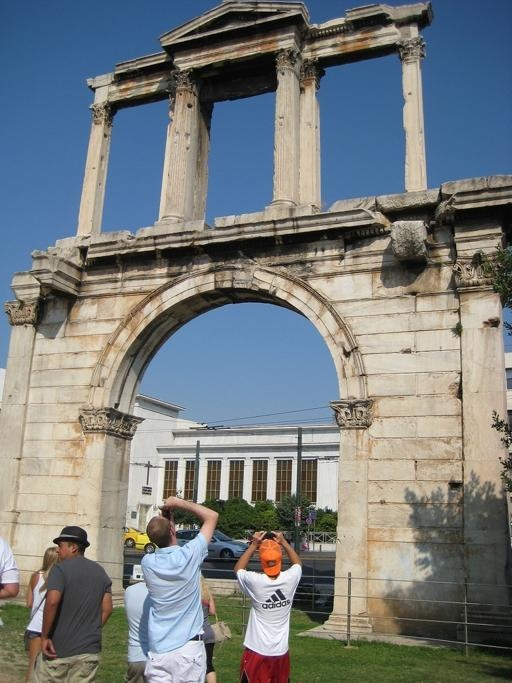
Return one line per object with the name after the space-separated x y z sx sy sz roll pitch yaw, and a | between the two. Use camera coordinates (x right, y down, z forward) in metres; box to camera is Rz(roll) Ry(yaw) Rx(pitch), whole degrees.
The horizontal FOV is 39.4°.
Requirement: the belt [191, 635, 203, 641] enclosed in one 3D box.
-0.383 1.865 4.538 0.048 0.032 0.047 -3 -12 15 | belt

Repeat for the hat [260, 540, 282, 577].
0.105 1.612 5.398 0.174 0.252 0.113 -8 -4 0 | hat
